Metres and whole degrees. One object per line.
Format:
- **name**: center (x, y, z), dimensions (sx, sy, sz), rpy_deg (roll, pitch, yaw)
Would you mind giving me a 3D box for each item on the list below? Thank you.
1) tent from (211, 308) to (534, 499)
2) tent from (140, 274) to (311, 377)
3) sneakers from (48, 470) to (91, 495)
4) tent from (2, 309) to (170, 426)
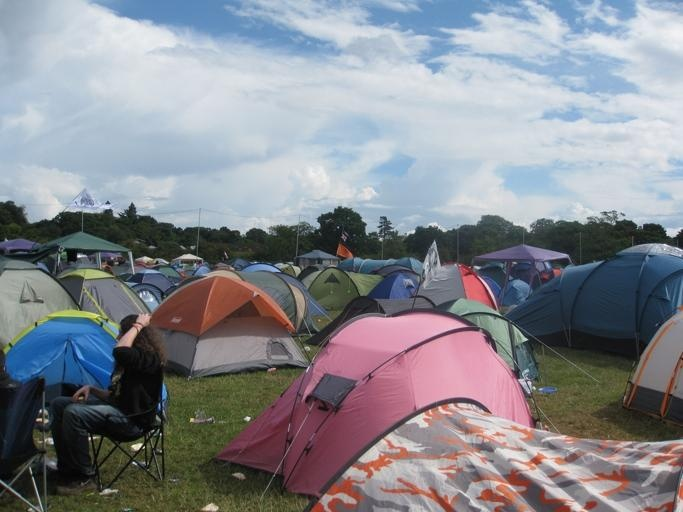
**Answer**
- **tent**: center (0.563, 1.620, 7.587), dimensions (3.875, 1.676, 2.789), rpy_deg (1, 0, -27)
- **tent**: center (-2.575, 1.276, 11.108), dimensions (1.903, 1.014, 2.160), rpy_deg (-1, 3, -40)
- **sneakers**: center (-3.152, 2.623, 6.650), dimensions (0.501, 0.218, 0.206), rpy_deg (9, -10, 2)
- **tent**: center (-3.979, 1.390, 8.345), dimensions (1.895, 1.132, 1.890), rpy_deg (8, -9, -34)
